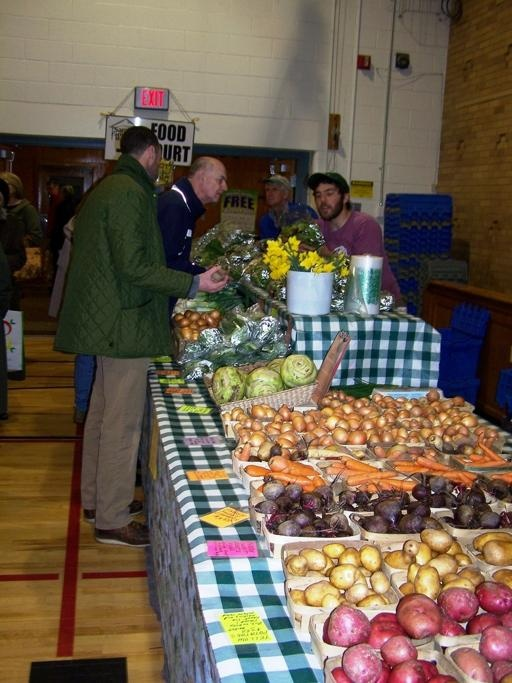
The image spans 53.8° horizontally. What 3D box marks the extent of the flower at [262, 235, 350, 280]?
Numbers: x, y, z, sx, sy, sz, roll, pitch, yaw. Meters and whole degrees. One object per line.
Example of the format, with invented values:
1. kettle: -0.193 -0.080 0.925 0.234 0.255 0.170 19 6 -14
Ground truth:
1. flower: 0.263 -0.406 2.382 0.268 0.129 0.287 -12 12 -38

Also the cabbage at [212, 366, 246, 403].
1. cabbage: -0.112 0.174 2.020 0.116 0.146 0.124 -4 3 24

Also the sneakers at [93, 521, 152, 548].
1. sneakers: -0.662 0.973 2.558 0.305 0.120 0.116 3 5 -12

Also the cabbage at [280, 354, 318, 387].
1. cabbage: 0.168 0.119 2.022 0.137 0.124 0.127 -5 20 -14

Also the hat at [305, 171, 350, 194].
1. hat: 0.483 -1.071 3.340 0.262 0.175 0.217 3 5 -4

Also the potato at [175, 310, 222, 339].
1. potato: -0.351 -0.104 2.894 0.182 0.089 0.259 0 21 -5

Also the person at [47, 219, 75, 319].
1. person: -1.744 -0.621 4.623 0.174 0.806 0.179 9 10 41

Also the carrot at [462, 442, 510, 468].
1. carrot: 0.654 0.324 1.423 0.070 0.017 0.068 -9 16 -26

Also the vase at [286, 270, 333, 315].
1. vase: 0.242 -0.224 2.287 0.204 0.187 0.208 4 6 -19
